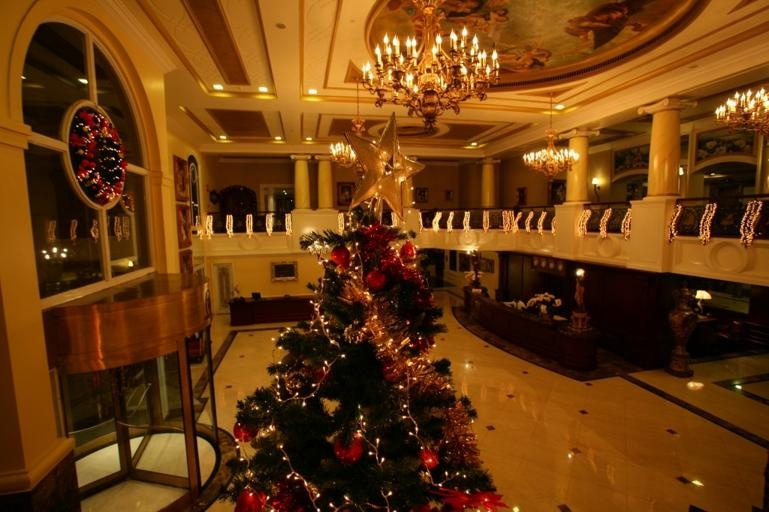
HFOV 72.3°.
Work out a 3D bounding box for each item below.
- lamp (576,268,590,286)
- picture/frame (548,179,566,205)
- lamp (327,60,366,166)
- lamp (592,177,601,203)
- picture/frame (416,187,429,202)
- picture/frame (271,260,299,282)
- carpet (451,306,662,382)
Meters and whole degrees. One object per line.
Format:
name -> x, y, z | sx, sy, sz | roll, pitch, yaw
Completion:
lamp -> 5.268, 0.563, 14.003 | 0.309, 0.429, 0.312 | -12, 29, 11
picture/frame -> 5.985, -2.258, 18.468 | 0.596, 0.843, 0.352 | -1, 5, -8
lamp -> -0.605, -3.410, 13.095 | 0.874, 2.036, 0.898 | 23, 35, 23
lamp -> 7.109, -2.250, 17.715 | 0.260, 0.829, 1.071 | 1, 6, 21
picture/frame -> 1.501, -2.507, 21.404 | 0.622, 0.627, 0.063 | 1, 2, -22
picture/frame -> -3.436, 0.489, 18.029 | 0.726, 0.552, 0.058 | -2, 8, -12
carpet -> 3.788, 2.352, 15.024 | 2.394, 0.441, 6.678 | -4, 7, -30
